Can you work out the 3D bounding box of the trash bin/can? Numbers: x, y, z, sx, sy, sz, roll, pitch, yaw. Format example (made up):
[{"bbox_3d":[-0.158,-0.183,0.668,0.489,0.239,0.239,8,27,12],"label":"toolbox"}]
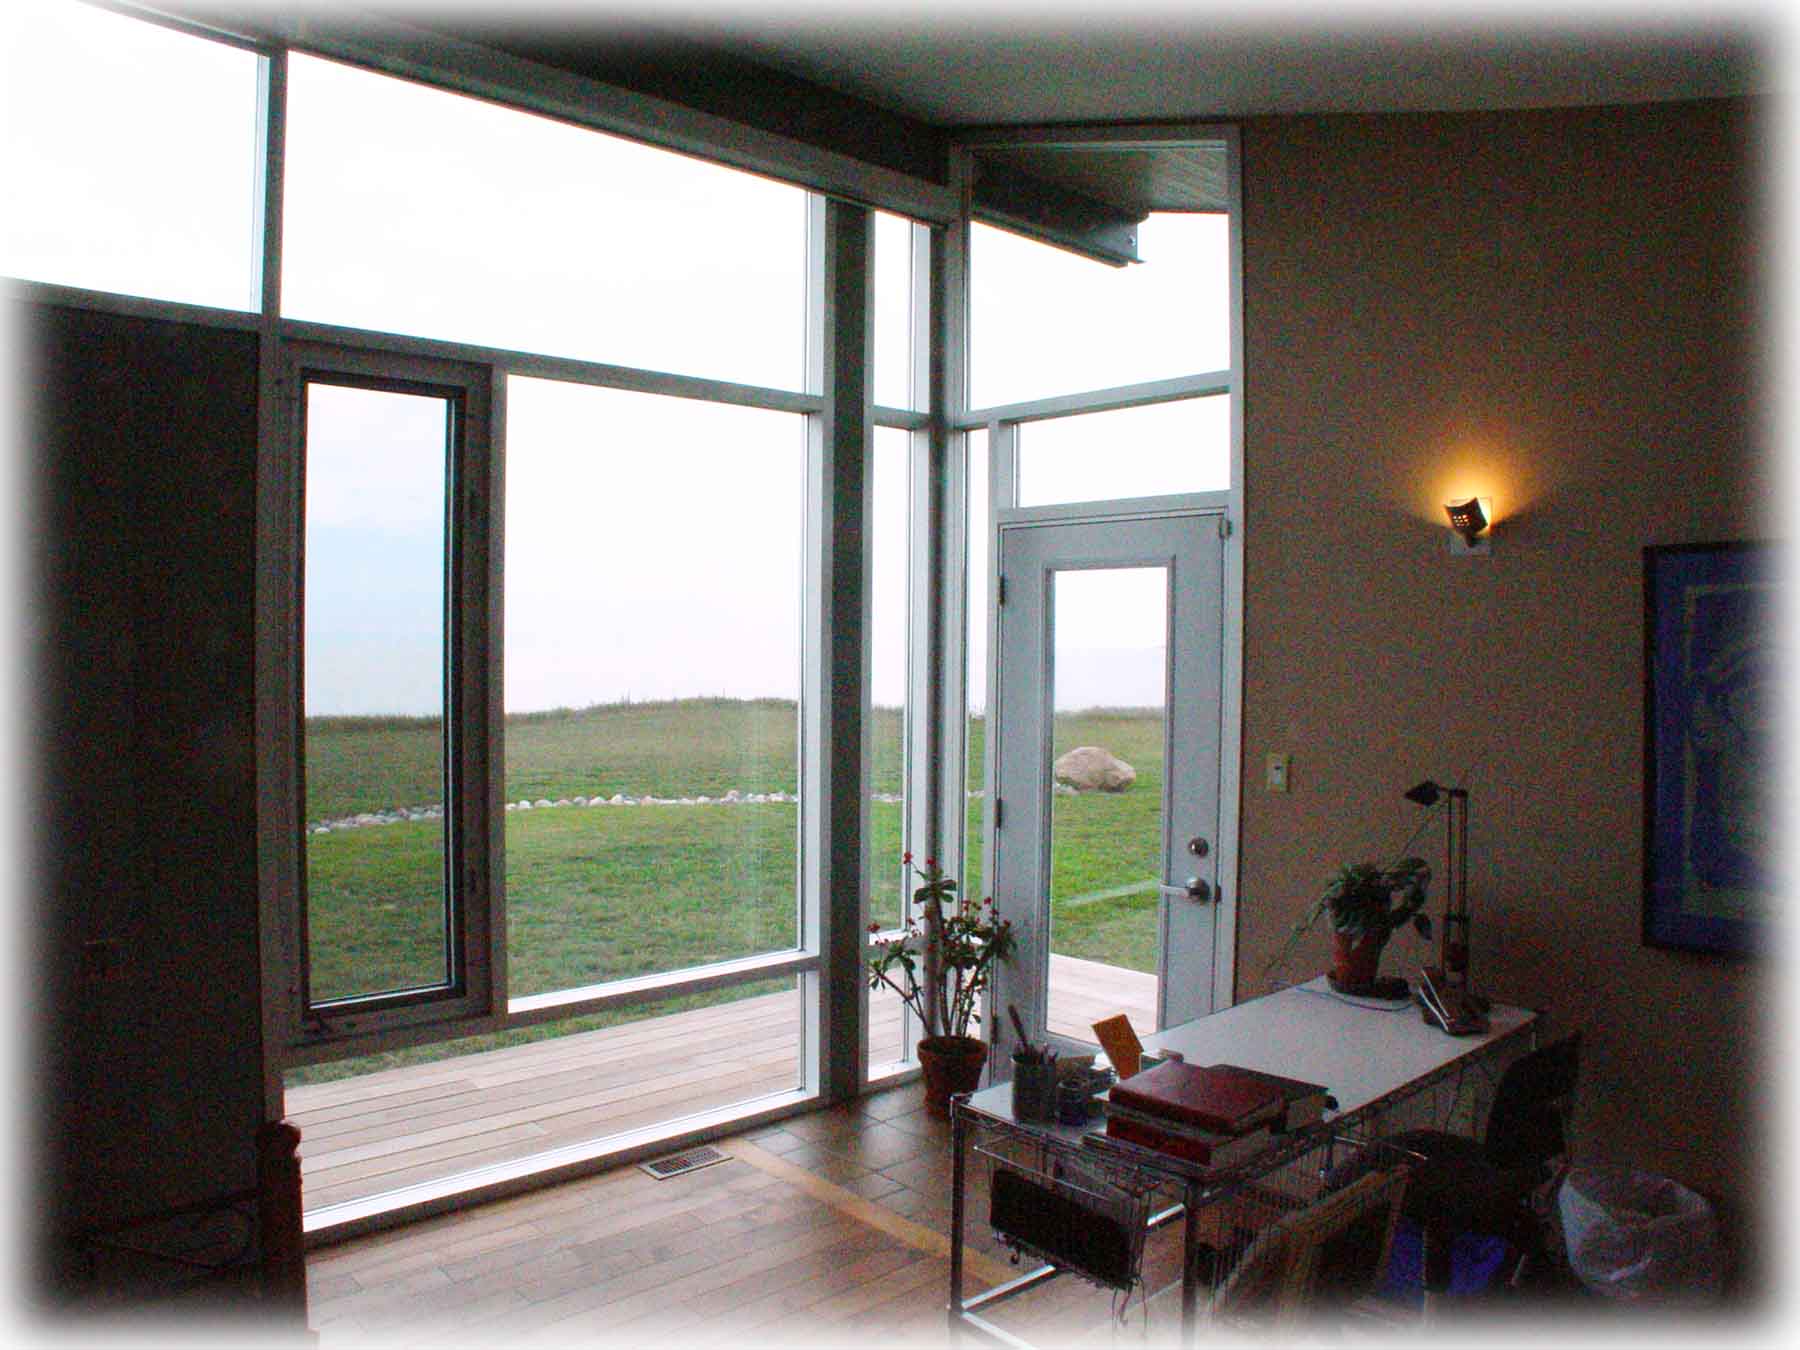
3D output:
[{"bbox_3d":[2.415,1.806,4.229,0.371,0.307,0.312,-13,-15,33],"label":"trash bin/can"}]

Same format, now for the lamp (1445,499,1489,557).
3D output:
[{"bbox_3d":[1.979,-0.523,4.563,0.141,0.188,0.135,5,8,26],"label":"lamp"}]

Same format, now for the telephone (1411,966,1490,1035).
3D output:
[{"bbox_3d":[1.775,1.042,4.242,0.149,0.076,0.217,1,18,-4],"label":"telephone"}]

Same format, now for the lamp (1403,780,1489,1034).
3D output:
[{"bbox_3d":[1.918,0.779,4.593,0.294,0.767,0.287,1,-6,17],"label":"lamp"}]

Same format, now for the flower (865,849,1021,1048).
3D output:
[{"bbox_3d":[0.181,1.216,5.737,0.592,0.815,0.489,-13,-17,24],"label":"flower"}]

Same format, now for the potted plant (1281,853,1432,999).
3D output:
[{"bbox_3d":[1.566,0.830,4.561,0.482,0.423,0.494,3,-3,-38],"label":"potted plant"}]

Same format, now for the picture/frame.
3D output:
[{"bbox_3d":[2.609,0.243,4.197,0.687,1.304,0.012,3,-2,-25],"label":"picture/frame"}]
